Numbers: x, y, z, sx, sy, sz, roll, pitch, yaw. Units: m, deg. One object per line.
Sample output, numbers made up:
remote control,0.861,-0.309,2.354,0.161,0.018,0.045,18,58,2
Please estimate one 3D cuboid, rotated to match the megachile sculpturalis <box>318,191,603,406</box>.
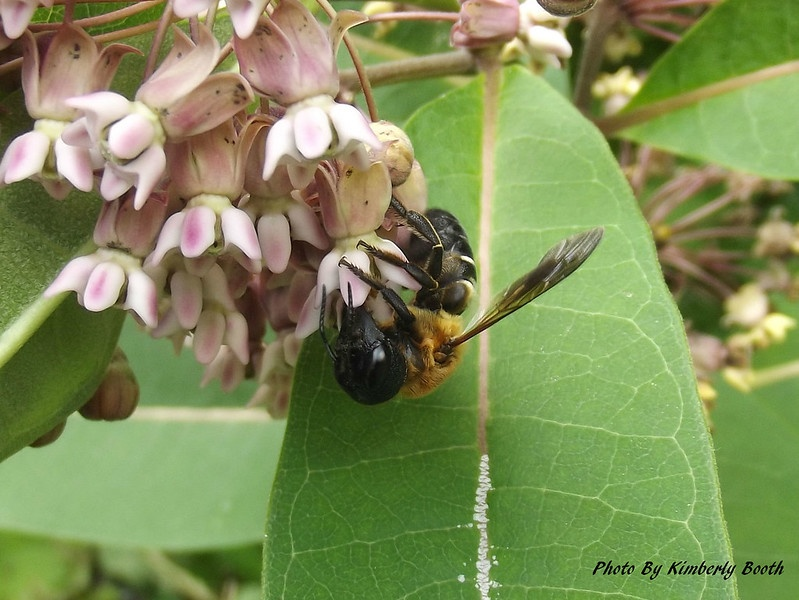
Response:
megachile sculpturalis,0.085,0.003,1.544,0.147,0.316,0.439,43,40,21
